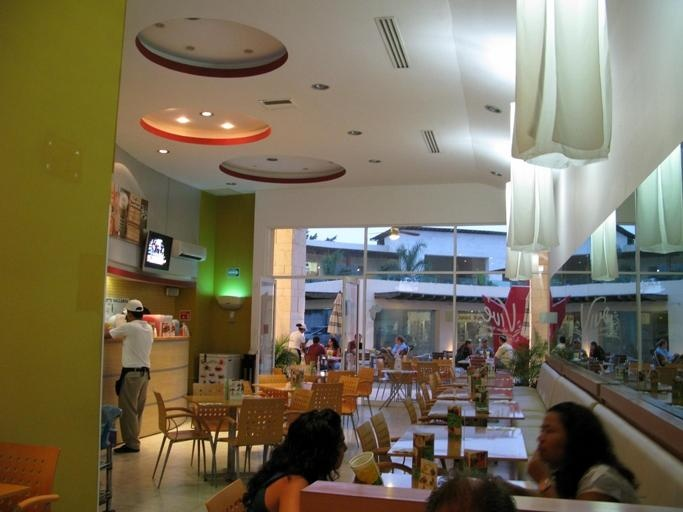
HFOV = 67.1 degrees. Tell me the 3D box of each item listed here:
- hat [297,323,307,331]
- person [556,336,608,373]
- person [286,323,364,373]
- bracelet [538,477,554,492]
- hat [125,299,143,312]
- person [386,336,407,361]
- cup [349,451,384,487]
[{"bbox_3d":[-0.955,1.690,12.355,0.184,0.154,0.135,18,-2,2],"label":"hat"},{"bbox_3d":[2.860,1.183,6.199,0.360,0.477,1.238,3,-2,20],"label":"person"},{"bbox_3d":[-0.300,2.119,11.764,1.423,0.843,0.849,-1,-4,-4],"label":"person"},{"bbox_3d":[1.028,1.150,2.586,0.067,0.064,0.093,0,-8,18],"label":"bracelet"},{"bbox_3d":[-3.096,0.757,7.751,0.197,0.169,0.300,3,2,-36],"label":"hat"},{"bbox_3d":[1.297,2.092,11.629,0.433,0.819,0.401,3,-16,16],"label":"person"},{"bbox_3d":[0.109,0.969,2.324,0.142,0.152,0.327,-1,-7,3],"label":"cup"}]
